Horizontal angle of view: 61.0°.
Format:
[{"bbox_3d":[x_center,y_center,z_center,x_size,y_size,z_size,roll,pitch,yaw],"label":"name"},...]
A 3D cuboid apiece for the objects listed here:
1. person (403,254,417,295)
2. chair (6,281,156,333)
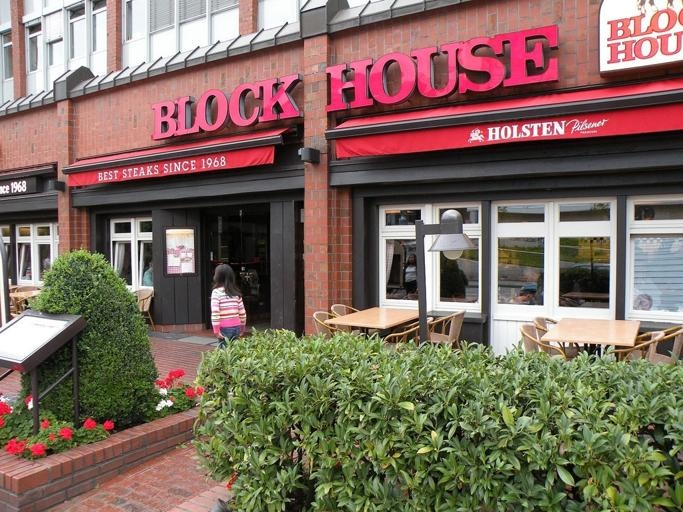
[{"bbox_3d":[1.326,0.371,11.041,0.311,0.871,0.212,0,21,7],"label":"person"},{"bbox_3d":[-3.342,0.687,7.715,1.396,0.314,0.565,1,2,11],"label":"chair"}]
